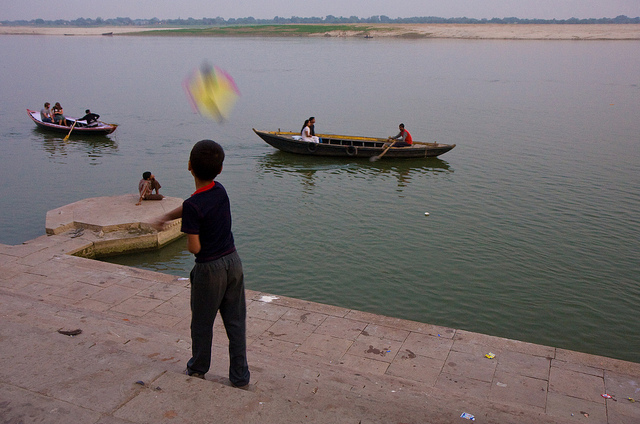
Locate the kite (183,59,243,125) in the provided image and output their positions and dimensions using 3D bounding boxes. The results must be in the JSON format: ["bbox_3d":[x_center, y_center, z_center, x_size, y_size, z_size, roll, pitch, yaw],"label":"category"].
[{"bbox_3d":[-2.073,-2.129,9.302,1.015,1.359,0.427,-35,68,-26],"label":"kite"}]

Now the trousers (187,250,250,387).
[{"bbox_3d":[-1.642,1.776,8.164,1.008,2.291,0.710,-1,27,-9],"label":"trousers"}]

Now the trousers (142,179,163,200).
[{"bbox_3d":[-5.791,-0.745,17.571,0.540,0.692,0.740,-18,39,-42],"label":"trousers"}]

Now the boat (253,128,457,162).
[{"bbox_3d":[1.720,-3.397,25.987,7.314,0.921,3.395,4,20,1],"label":"boat"}]

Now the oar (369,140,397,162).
[{"bbox_3d":[3.290,-3.118,25.645,1.854,0.314,0.234,-37,23,0],"label":"oar"}]
